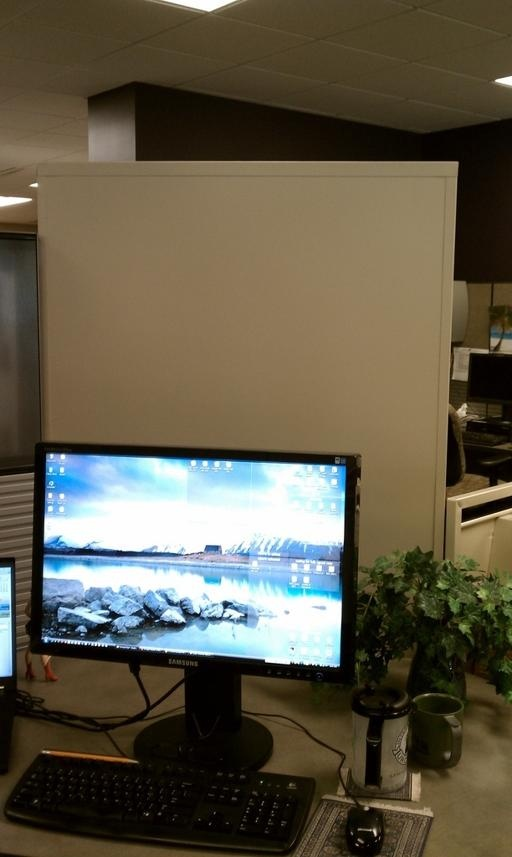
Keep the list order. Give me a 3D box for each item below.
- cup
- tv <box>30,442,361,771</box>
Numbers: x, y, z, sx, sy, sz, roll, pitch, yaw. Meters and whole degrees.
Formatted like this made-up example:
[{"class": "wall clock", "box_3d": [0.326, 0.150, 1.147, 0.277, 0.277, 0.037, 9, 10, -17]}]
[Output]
[{"class": "cup", "box_3d": [0.218, 0.402, 0.925, 0.095, 0.130, 0.175, 8, 23, 29]}, {"class": "tv", "box_3d": [-0.088, 0.260, 0.970, 0.381, 0.396, 0.173, 2, 0, 11]}]
